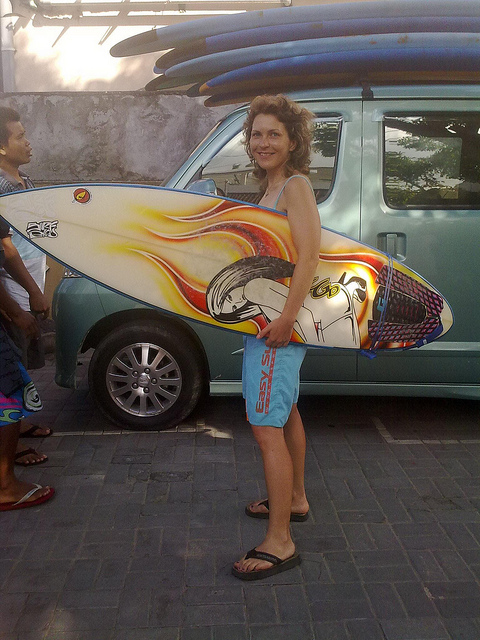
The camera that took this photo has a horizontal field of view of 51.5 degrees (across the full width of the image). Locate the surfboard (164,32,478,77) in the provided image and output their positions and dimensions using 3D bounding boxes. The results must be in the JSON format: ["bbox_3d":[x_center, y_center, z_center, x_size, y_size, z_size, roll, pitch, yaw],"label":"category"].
[{"bbox_3d":[0.464,-1.697,3.122,1.919,0.114,0.201,1,6,15],"label":"surfboard"}]

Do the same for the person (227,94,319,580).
[{"bbox_3d":[0.165,0.050,2.172,0.342,1.790,0.959,0,7,8],"label":"person"}]

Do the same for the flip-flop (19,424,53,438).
[{"bbox_3d":[-1.357,0.756,3.342,0.232,0.052,0.074,0,5,-6],"label":"flip-flop"}]

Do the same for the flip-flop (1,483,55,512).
[{"bbox_3d":[-1.031,0.868,2.438,0.208,0.046,0.076,-12,33,-31],"label":"flip-flop"}]

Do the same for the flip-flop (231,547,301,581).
[{"bbox_3d":[0.105,0.912,1.862,0.263,0.088,0.088,-2,7,-14],"label":"flip-flop"}]

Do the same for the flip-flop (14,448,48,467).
[{"bbox_3d":[-1.217,0.819,2.940,0.207,0.050,0.070,2,2,-15],"label":"flip-flop"}]
